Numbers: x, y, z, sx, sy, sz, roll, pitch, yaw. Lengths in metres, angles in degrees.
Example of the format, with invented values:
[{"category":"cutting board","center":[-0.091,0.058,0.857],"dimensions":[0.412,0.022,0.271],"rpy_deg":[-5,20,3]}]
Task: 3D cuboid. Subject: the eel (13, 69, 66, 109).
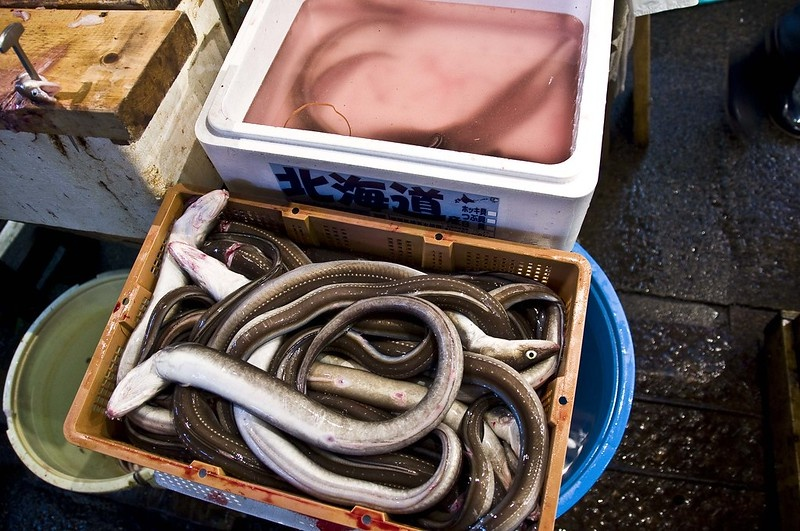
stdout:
[{"category":"eel","center":[-1.881,-0.916,3.737],"dimensions":[0.177,0.108,0.339],"rpy_deg":[-43,31,-19]}]
